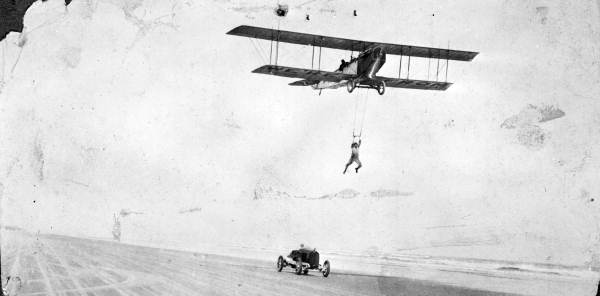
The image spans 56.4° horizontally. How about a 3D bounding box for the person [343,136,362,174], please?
[{"bbox_3d":[1.798,0.266,18.469,0.537,1.271,0.262,9,7,-9],"label":"person"}]
